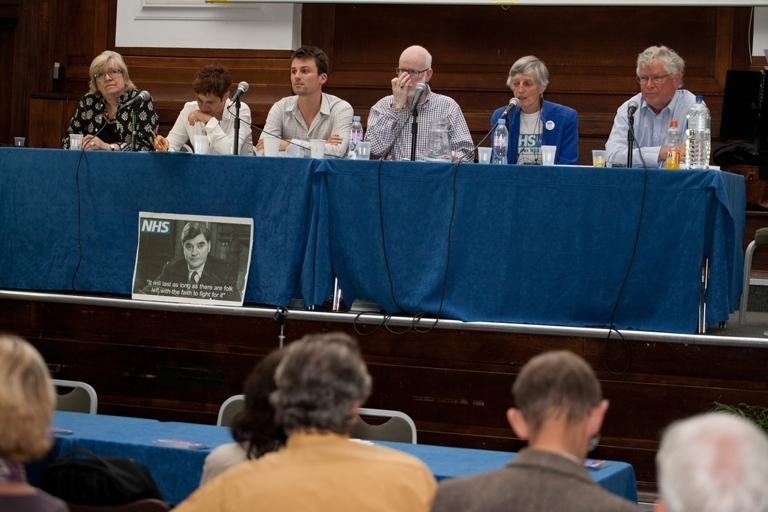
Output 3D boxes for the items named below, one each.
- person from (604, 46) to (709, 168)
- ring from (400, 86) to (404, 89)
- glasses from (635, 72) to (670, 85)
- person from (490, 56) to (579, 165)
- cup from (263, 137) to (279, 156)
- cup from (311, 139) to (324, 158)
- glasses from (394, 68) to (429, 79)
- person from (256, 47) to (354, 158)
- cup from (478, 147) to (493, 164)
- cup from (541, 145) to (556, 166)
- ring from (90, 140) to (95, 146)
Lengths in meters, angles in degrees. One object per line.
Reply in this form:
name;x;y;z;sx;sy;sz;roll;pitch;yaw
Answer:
person;1.761;-0.834;4.831;0.657;1.000;0.578;3;9;20
ring;0.116;-1.098;4.793;0.021;0.013;0.004;4;2;5
glasses;1.701;-1.124;4.668;0.193;0.049;0.075;5;3;37
person;0.970;-0.871;4.860;0.572;0.827;0.544;1;15;25
cup;-0.656;-0.634;4.271;0.103;0.109;0.099;0;4;0
cup;-0.375;-0.607;4.142;0.097;0.097;0.096;0;4;0
glasses;0.186;-1.209;4.837;0.200;0.045;0.100;3;2;0
person;-0.522;-0.993;5.058;0.648;0.803;0.522;-1;-3;11
cup;0.571;-0.575;4.229;0.115;0.126;0.114;-1;6;0
cup;0.897;-0.555;4.080;0.110;0.123;0.110;-1;6;0
ring;-1.856;-0.716;4.661;0.036;0.034;0.009;2;-2;-35
